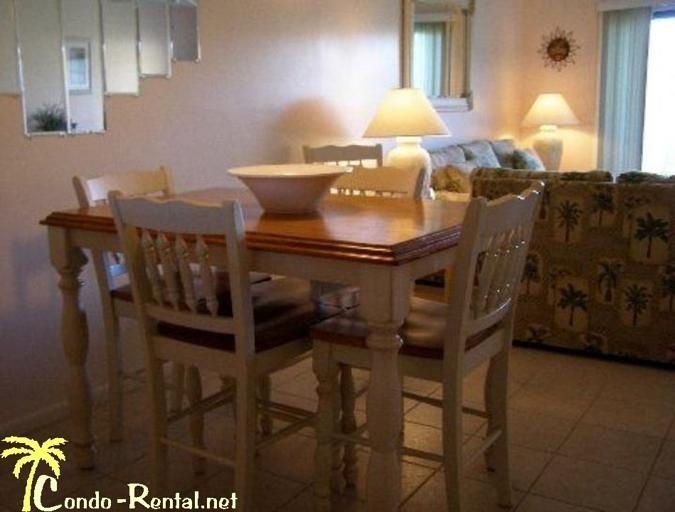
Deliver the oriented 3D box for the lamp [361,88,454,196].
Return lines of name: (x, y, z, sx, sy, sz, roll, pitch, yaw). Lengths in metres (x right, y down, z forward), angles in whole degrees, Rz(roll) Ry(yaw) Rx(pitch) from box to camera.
lamp: (0.521, -0.828, 4.297, 0.602, 0.842, 0.640, 2, 20, 18)

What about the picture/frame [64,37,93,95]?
picture/frame: (-1.241, -0.909, 2.776, 0.027, 0.239, 0.142, 5, 16, 26)
